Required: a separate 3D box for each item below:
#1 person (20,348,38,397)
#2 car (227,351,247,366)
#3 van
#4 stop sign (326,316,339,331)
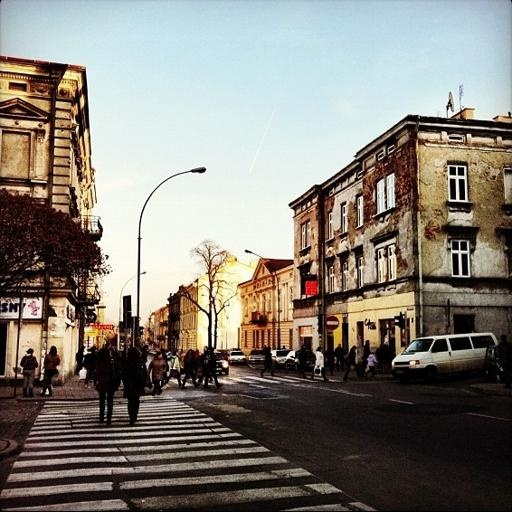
[{"bbox_3d":[-7.458,3.807,20.291,0.464,1.545,1.641,2,-7,-21],"label":"person"},{"bbox_3d":[-1.630,9.158,55.852,1.586,1.199,2.538,-1,-7,-1],"label":"car"},{"bbox_3d":[7.684,4.201,25.254,3.732,1.789,1.986,10,-25,-29],"label":"van"},{"bbox_3d":[3.742,3.252,30.222,0.517,0.699,1.412,-2,-7,10],"label":"stop sign"}]
